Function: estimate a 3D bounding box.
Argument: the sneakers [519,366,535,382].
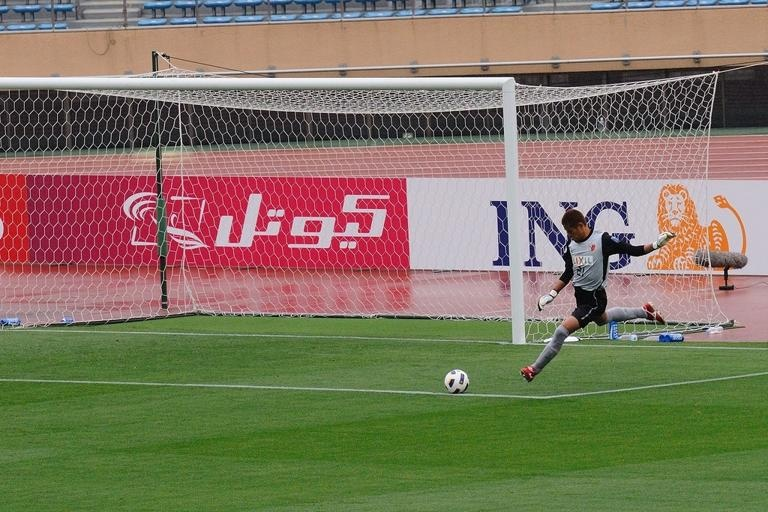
[{"bbox_3d":[1.949,1.611,17.498,0.226,0.097,0.296,-12,-1,-2],"label":"sneakers"}]

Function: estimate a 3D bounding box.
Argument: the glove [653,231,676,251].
[{"bbox_3d":[3.773,-0.188,17.330,0.246,0.129,0.393,-18,-5,42],"label":"glove"}]

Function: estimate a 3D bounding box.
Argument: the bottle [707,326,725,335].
[{"bbox_3d":[5.378,1.217,20.775,0.193,0.056,0.138,-4,7,-26],"label":"bottle"}]

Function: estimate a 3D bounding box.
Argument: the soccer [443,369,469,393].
[{"bbox_3d":[0.972,1.698,17.397,0.320,0.285,0.271,0,11,2],"label":"soccer"}]
